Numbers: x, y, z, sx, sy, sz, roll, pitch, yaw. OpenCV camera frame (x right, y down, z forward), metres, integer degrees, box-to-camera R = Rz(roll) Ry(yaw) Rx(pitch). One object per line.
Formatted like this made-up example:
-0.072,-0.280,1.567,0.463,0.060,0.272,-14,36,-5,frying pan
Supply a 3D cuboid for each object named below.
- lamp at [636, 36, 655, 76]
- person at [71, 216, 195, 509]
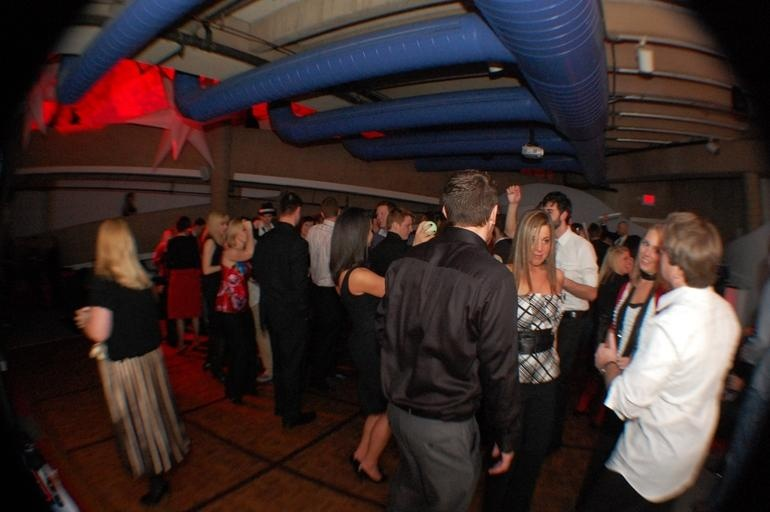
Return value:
2.763,-2.150,5.313,0.202,0.380,0.161,4,7,6,lamp
-1.834,0.792,3.613,0.654,2.096,0.303,-2,9,-23,person
